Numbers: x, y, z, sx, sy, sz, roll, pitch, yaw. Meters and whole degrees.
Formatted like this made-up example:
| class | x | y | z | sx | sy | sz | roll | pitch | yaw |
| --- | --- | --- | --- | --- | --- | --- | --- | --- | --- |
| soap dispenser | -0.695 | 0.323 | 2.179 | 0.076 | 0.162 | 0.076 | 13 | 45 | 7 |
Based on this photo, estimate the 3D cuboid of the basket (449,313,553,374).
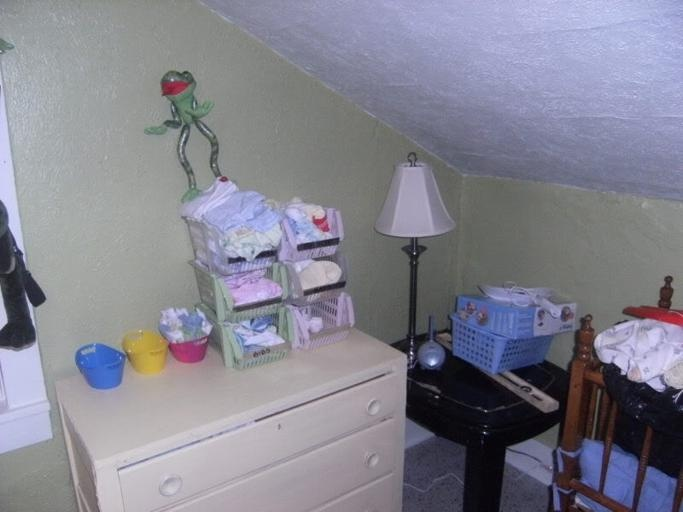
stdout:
| class | x | y | z | sx | sy | sz | roll | pitch | yaw |
| --- | --- | --- | --- | --- | --- | --- | --- | --- | --- |
| basket | 0.688 | 0.331 | 2.474 | 0.257 | 0.145 | 0.344 | 5 | 9 | -34 |
